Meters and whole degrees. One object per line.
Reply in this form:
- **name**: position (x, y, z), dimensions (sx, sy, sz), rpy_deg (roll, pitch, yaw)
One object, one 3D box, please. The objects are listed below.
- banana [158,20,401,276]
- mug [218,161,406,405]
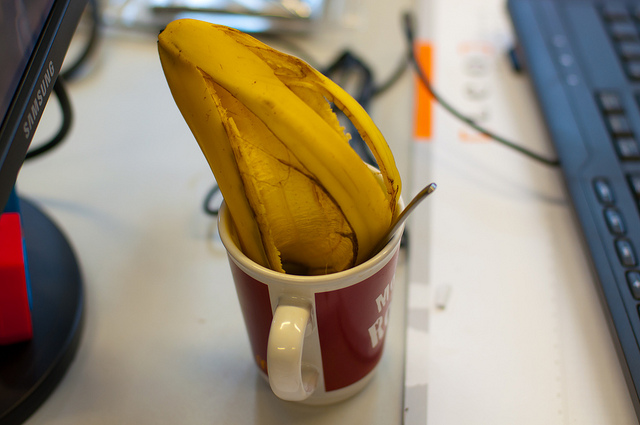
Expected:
- **banana**: position (-0.029, -0.043, 0.453), dimensions (0.120, 0.197, 0.081), rpy_deg (-37, 19, 0)
- **mug**: position (0.001, 0.065, 0.464), dimensions (0.101, 0.163, 0.158), rpy_deg (0, 34, -3)
